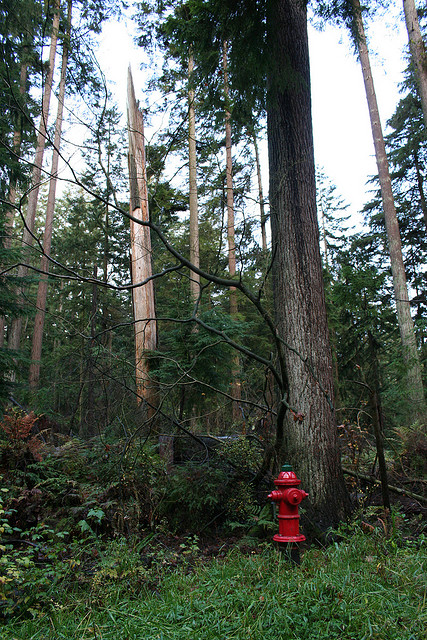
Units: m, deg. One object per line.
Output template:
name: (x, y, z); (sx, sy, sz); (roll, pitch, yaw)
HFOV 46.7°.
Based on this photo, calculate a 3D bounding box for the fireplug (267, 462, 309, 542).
fireplug: (0.587, 1.437, 3.842); (0.344, 0.634, 0.283); (-1, -15, 2)
